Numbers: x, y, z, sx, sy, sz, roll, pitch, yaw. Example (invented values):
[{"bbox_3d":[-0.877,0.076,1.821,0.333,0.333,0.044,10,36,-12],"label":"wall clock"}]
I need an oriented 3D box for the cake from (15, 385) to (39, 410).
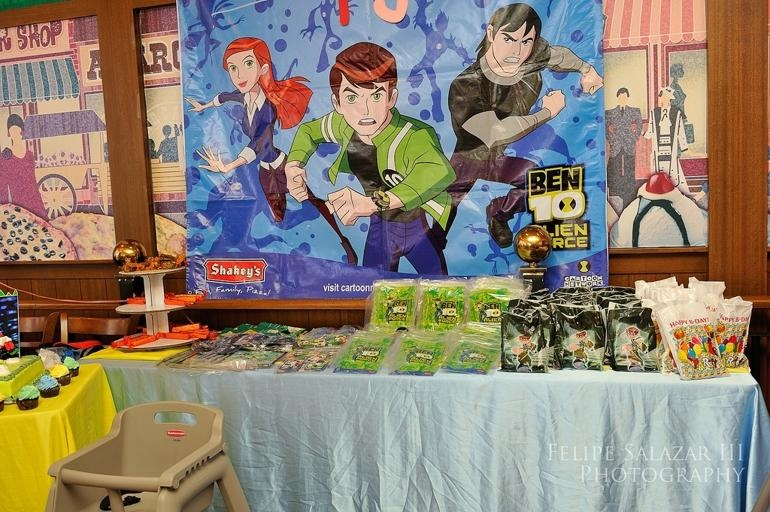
[{"bbox_3d":[-1.761,0.694,2.870,0.096,0.119,0.088,-3,1,-42],"label":"cake"}]

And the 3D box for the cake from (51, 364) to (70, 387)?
[{"bbox_3d":[-1.685,0.619,3.029,0.102,0.096,0.102,0,-4,5],"label":"cake"}]

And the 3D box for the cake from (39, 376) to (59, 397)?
[{"bbox_3d":[-1.694,0.655,2.928,0.095,0.087,0.104,0,-5,-6],"label":"cake"}]
